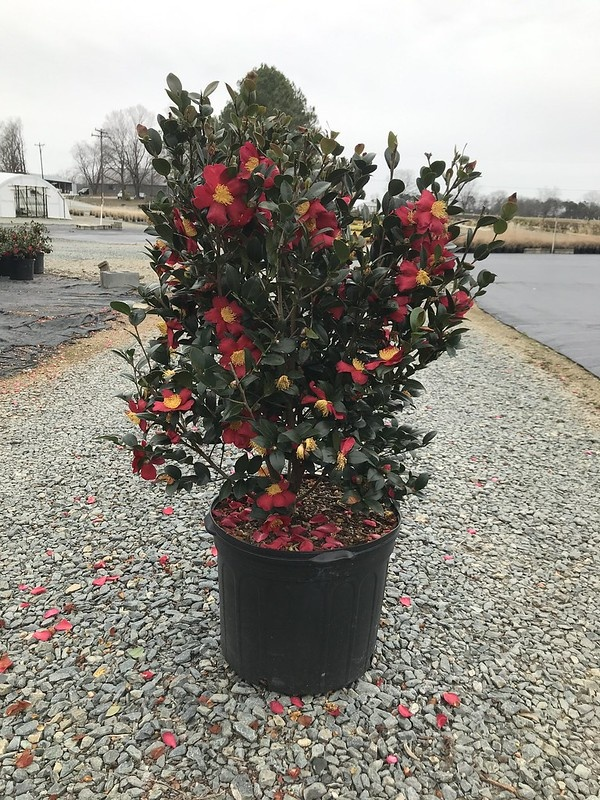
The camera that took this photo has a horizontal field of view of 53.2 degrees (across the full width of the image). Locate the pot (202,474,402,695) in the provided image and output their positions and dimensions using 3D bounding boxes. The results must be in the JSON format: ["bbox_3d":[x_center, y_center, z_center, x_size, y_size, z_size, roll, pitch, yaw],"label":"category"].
[{"bbox_3d":[0.019,0.566,1.966,0.711,0.481,0.651,1,16,0],"label":"pot"}]

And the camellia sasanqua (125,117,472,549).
[{"bbox_3d":[-0.053,-0.214,2.086,1.170,1.446,1.166,-6,27,-14],"label":"camellia sasanqua"}]
